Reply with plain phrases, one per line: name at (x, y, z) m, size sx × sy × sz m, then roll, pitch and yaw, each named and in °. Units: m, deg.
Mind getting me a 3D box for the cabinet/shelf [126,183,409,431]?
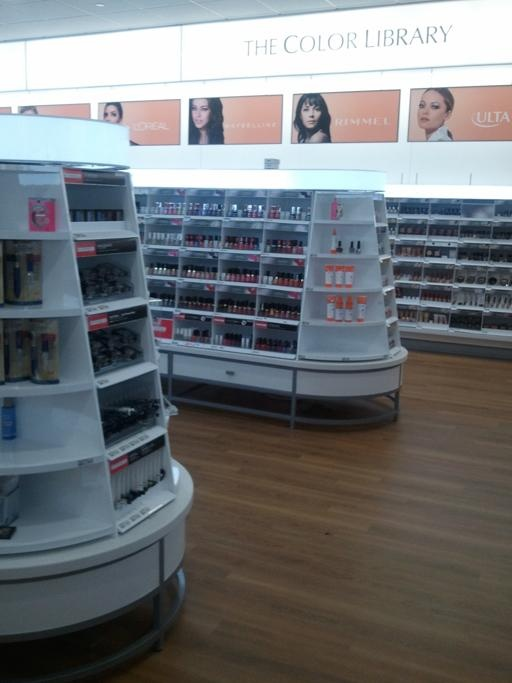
cabinet/shelf at (0.135, -0.326, 4.987) m, size 2.414 × 1.676 × 1.070 m, roll 7°, pitch 17°, yaw 25°
